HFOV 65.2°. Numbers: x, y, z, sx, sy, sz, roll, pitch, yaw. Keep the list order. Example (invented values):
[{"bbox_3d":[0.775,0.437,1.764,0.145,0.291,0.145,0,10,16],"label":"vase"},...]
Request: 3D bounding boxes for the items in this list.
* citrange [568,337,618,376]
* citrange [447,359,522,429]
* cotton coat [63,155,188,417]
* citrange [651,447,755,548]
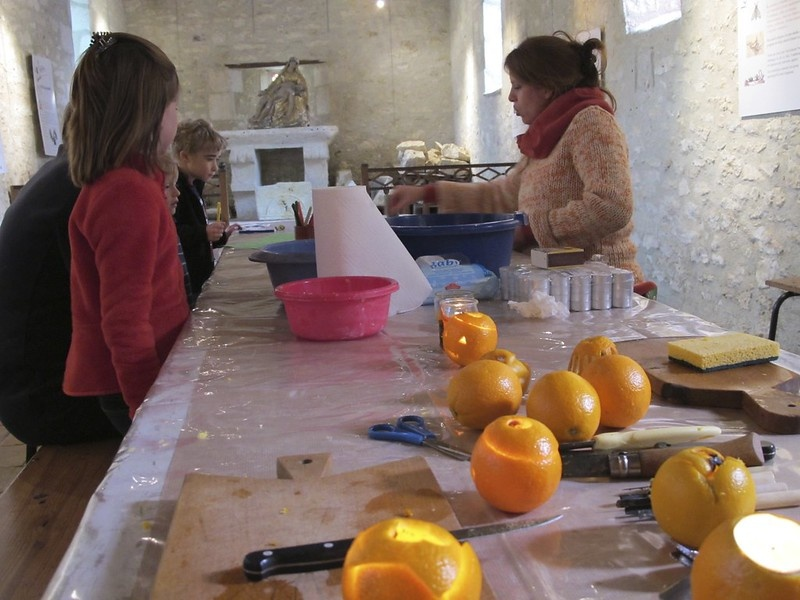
[{"bbox_3d":[0.283,0.077,0.917,0.063,0.054,0.060,3,-15,4],"label":"citrange"},{"bbox_3d":[0.109,0.122,0.883,0.107,0.084,0.110,1,12,1],"label":"citrange"},{"bbox_3d":[-0.598,-0.030,1.526,0.312,0.618,0.341,-2,14,-17],"label":"cotton coat"},{"bbox_3d":[0.285,0.183,0.591,0.082,0.088,0.092,5,10,9],"label":"citrange"}]
